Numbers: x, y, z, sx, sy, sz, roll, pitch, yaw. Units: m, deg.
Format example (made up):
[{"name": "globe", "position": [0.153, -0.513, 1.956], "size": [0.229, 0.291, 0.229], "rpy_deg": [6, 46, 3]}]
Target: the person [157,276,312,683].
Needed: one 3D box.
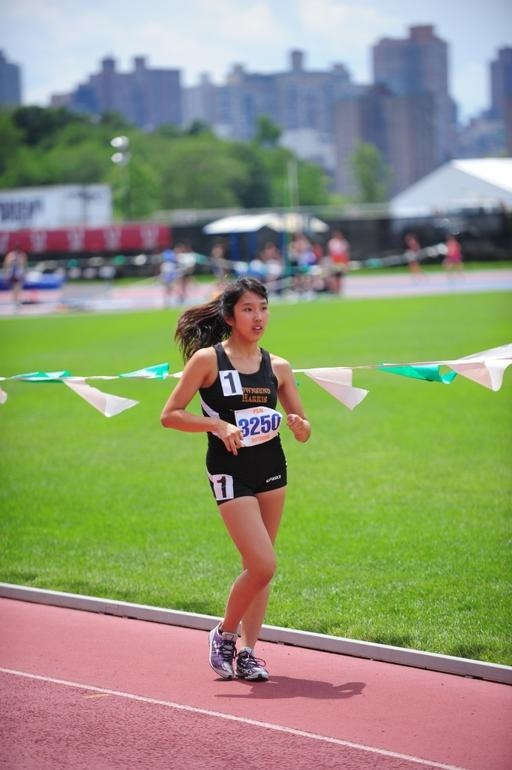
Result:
[{"name": "person", "position": [-0.106, 0.411, 4.329], "size": [0.669, 1.754, 0.703], "rpy_deg": [2, 11, 17]}]

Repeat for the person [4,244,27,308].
[{"name": "person", "position": [-6.081, -2.697, 24.958], "size": [0.513, 1.442, 2.425], "rpy_deg": [-4, 10, -14]}]

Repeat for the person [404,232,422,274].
[{"name": "person", "position": [5.000, -4.270, 31.461], "size": [0.669, 0.488, 1.792], "rpy_deg": [7, 30, 4]}]

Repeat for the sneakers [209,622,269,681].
[{"name": "sneakers", "position": [-0.149, 1.169, 4.327], "size": [0.140, 0.162, 0.383], "rpy_deg": [6, 5, -38]}]
